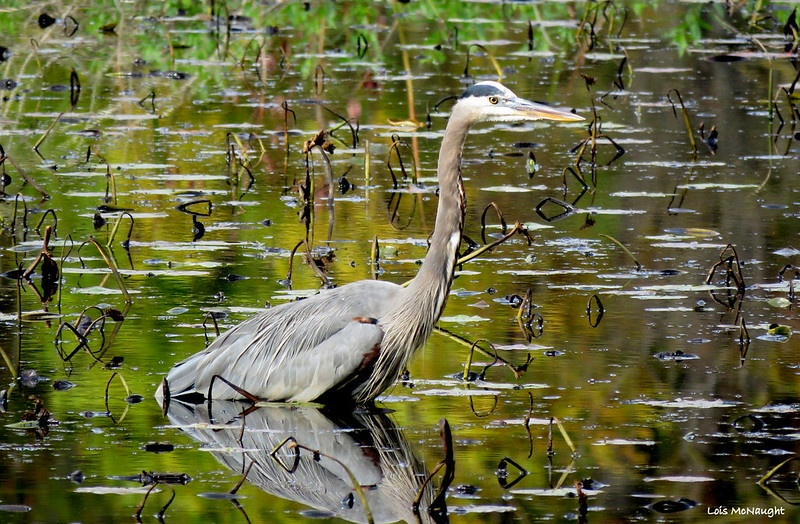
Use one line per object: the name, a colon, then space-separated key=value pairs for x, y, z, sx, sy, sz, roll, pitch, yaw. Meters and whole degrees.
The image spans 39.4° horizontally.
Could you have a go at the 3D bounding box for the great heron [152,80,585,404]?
great heron: x=-0.309 y=-0.127 z=6.796 sx=2.124 sy=1.965 sz=0.564 roll=-3 pitch=7 yaw=-22
